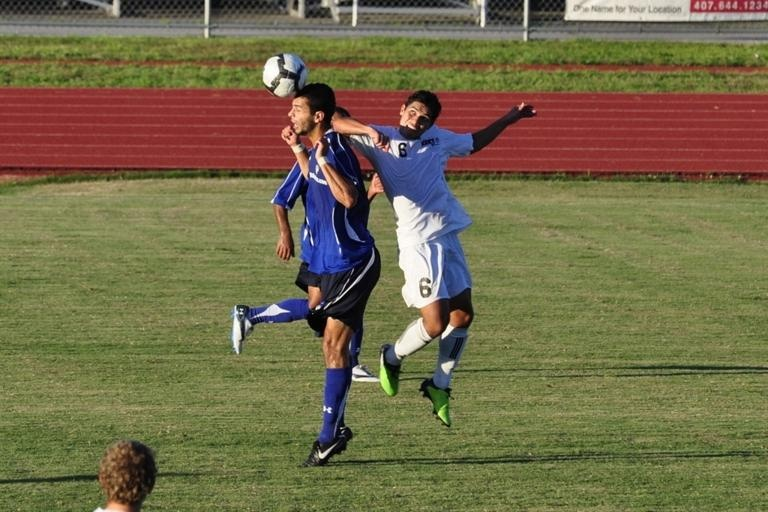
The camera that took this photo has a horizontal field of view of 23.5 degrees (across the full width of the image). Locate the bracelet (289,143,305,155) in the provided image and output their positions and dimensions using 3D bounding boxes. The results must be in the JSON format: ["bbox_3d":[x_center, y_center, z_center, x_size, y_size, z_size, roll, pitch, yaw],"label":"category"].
[{"bbox_3d":[-1.410,-1.719,30.168,0.180,0.116,0.170,-12,5,-24],"label":"bracelet"}]
